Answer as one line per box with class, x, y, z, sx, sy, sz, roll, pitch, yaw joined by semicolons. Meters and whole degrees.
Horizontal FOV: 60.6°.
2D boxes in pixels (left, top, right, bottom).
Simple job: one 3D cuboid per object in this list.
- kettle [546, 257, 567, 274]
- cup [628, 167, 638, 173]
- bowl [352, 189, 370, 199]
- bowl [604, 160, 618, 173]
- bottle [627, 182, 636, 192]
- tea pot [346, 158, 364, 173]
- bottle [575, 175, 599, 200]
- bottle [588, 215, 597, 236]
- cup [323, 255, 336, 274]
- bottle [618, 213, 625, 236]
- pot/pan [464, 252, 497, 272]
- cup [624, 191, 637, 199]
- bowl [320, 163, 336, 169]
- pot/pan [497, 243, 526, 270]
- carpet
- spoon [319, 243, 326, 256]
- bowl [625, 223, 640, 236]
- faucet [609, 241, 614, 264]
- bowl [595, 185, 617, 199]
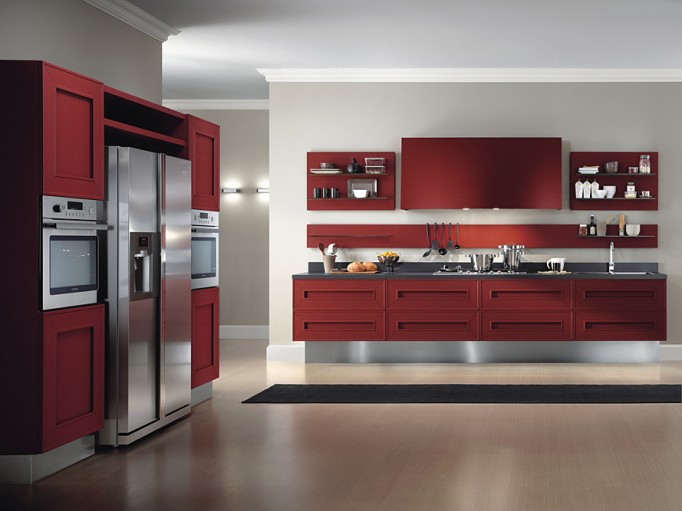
kettle;2.558;0.123;6.902;0.229;0.178;0.326;1;7;11
cup;3.481;-1.004;6.928;0.129;0.089;0.088;-1;7;-8
bowl;0.223;-0.719;6.945;0.207;0.126;0.105;0;-3;3
bowl;3.222;-1.045;6.941;0.142;0.136;0.171;2;7;25
bottle;3.451;-0.805;6.946;0.111;0.111;0.096;1;7;15
tea pot;0.174;-1.062;6.977;0.191;0.160;0.189;0;5;0
bottle;2.946;-0.787;6.965;0.305;0.230;0.134;0;7;5
bottle;3.005;-0.350;6.954;0.085;0.239;0.147;2;7;20
cup;-0.145;0.103;6.944;0.130;0.207;0.185;-1;6;-2
bottle;3.348;-0.354;6.958;0.084;0.248;0.165;2;7;25
pot/pan;1.693;0.096;7.036;0.262;0.158;0.252;1;2;9
cup;3.433;-0.704;6.916;0.105;0.058;0.102;1;2;0
bowl;-0.168;-1.059;6.945;0.097;0.067;0.102;0;3;0
pot/pan;2.011;0.030;7.027;0.332;0.282;0.309;2;-5;-8
carpet;1.187;1.317;5.539;3.997;0.054;0.648;0;6;1
spoon;-0.228;-0.072;7.010;0.049;0.166;0.029;-1;-1;-18
bowl;3.451;-0.290;6.904;0.144;0.107;0.148;2;4;0
faucet;3.227;-0.023;6.964;0.051;0.275;0.110;2;7;22
bowl;3.141;-0.750;6.966;0.167;0.106;0.185;1;4;10
